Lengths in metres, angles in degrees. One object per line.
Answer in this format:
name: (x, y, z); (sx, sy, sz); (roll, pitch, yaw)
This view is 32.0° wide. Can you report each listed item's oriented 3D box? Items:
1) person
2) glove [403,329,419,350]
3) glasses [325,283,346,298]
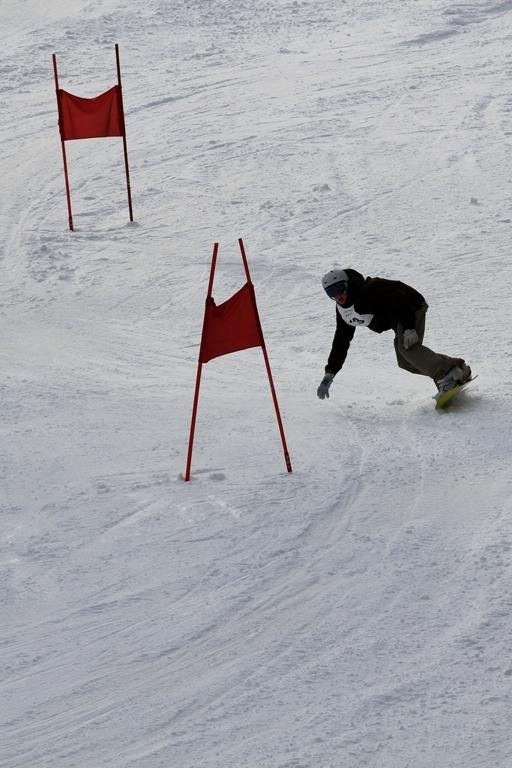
person: (0.986, -0.354, 6.405); (1.114, 1.095, 0.611); (-2, 25, 2)
glove: (1.104, -0.336, 6.372); (0.113, 0.169, 0.165); (0, 24, 8)
glasses: (0.533, -0.655, 6.050); (0.103, 0.110, 0.129); (-25, -4, 15)
